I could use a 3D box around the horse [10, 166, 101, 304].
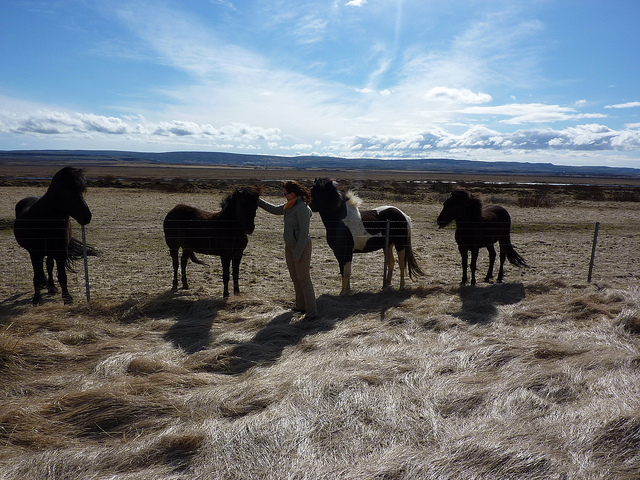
[{"bbox_3d":[-4.699,-0.138,8.425,1.164,2.295,2.056,-7,12,-30],"label":"horse"}]

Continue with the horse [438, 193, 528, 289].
[{"bbox_3d":[3.121,-0.040,9.176,1.460,1.737,0.627,-6,12,-29],"label":"horse"}]

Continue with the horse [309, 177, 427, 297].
[{"bbox_3d":[0.804,-0.106,8.528,1.875,1.948,0.639,-7,12,-31],"label":"horse"}]

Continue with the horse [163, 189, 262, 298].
[{"bbox_3d":[-1.839,0.024,8.269,1.859,1.818,0.513,6,13,33],"label":"horse"}]
